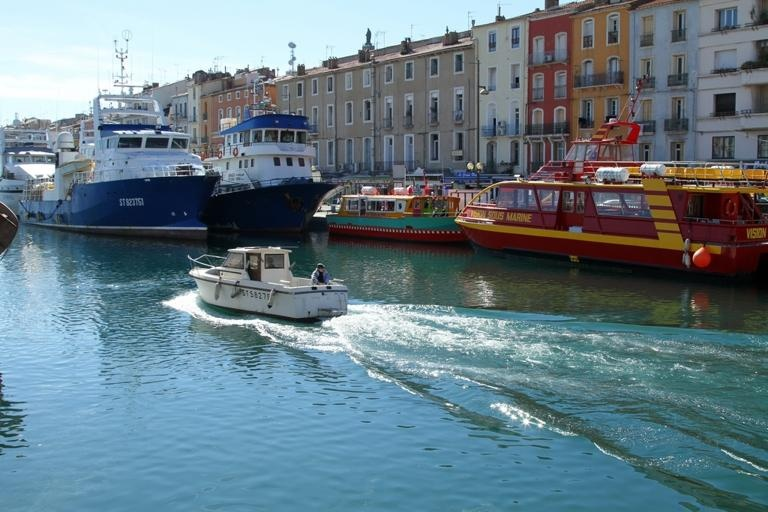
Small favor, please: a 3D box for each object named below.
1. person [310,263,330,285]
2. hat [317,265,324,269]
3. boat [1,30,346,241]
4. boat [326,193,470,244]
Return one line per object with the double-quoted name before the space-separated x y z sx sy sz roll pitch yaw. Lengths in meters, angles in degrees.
"person" -2.088 0.551 22.245 0.572 0.633 1.021 -2 5 -5
"hat" -2.043 0.309 22.111 0.219 0.114 0.214 3 -26 6
"boat" -19.570 -6.592 56.088 37.039 12.548 11.708 1 4 34
"boat" 1.088 -2.586 43.590 9.549 3.060 1.946 4 8 42
